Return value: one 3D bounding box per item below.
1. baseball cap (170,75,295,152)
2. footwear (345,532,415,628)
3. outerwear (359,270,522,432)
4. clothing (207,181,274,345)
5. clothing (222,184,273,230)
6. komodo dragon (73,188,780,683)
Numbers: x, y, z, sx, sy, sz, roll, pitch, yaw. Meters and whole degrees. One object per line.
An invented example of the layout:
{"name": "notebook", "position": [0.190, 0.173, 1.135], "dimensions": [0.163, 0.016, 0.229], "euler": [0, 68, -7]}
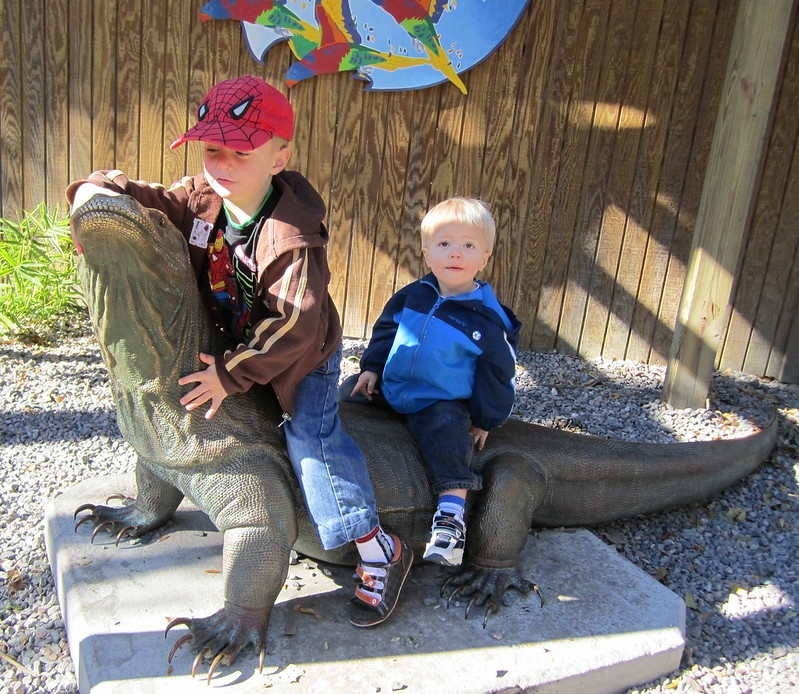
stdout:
{"name": "baseball cap", "position": [-0.548, -0.803, 2.479], "dimensions": [0.317, 0.273, 0.469], "euler": [10, 16, 27]}
{"name": "footwear", "position": [-0.069, 0.851, 2.707], "dimensions": [0.141, 0.150, 0.386], "euler": [1, 51, 36]}
{"name": "outerwear", "position": [0.183, 0.029, 3.191], "dimensions": [0.744, 0.641, 0.411], "euler": [17, 0, 39]}
{"name": "clothing", "position": [-0.583, -0.316, 2.542], "dimensions": [0.281, 0.523, 0.121], "euler": [11, 14, 44]}
{"name": "clothing", "position": [-0.533, -0.497, 2.474], "dimensions": [0.128, 0.185, 0.045], "euler": [15, 22, 12]}
{"name": "komodo dragon", "position": [0.318, 0.174, 3.215], "dimensions": [3.165, 1.487, 1.280], "euler": [-3, 7, -25]}
